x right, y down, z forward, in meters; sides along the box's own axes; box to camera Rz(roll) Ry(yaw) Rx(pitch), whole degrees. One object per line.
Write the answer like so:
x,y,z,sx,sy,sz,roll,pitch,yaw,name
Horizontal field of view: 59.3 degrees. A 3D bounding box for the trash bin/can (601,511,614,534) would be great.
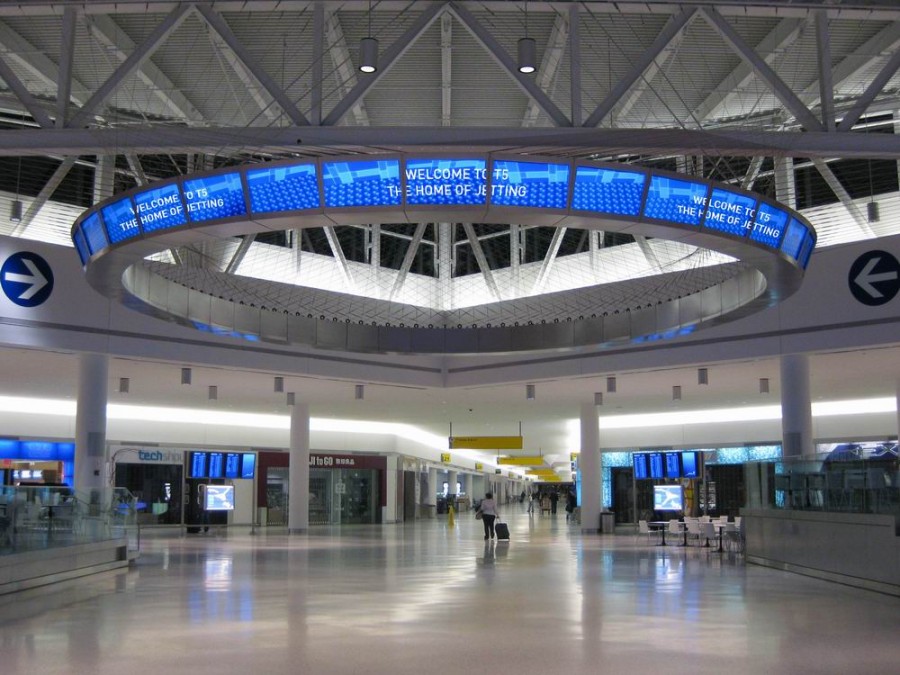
7.075,8.210,35.268,0.762,1.278,0.731,2,-7,5,trash bin/can
